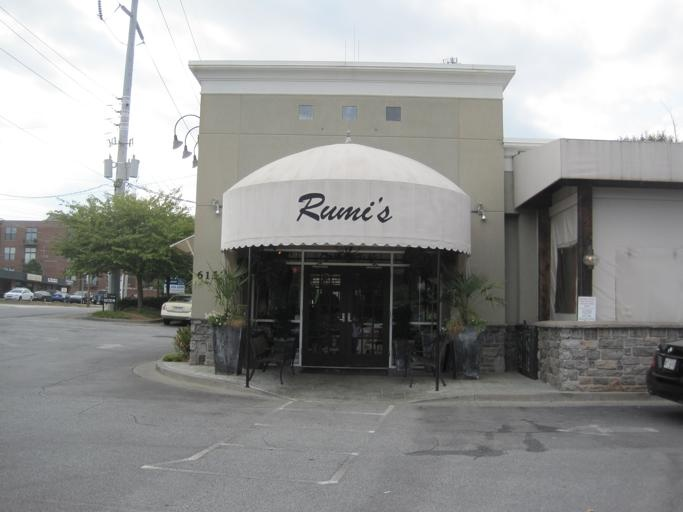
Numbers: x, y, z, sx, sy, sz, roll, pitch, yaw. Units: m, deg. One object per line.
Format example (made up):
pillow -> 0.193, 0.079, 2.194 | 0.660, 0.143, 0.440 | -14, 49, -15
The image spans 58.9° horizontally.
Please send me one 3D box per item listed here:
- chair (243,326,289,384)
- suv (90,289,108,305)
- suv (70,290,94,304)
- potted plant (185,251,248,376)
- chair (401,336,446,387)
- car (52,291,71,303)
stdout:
chair -> -1.753, 2.408, 14.939 | 1.028, 1.176, 3.098 | 2, -6, -6
suv -> -25.055, 4.207, 62.427 | 1.679, 1.849, 3.063 | 1, -9, -8
suv -> -31.635, 5.036, 73.917 | 1.437, 1.150, 2.268 | 0, -10, 4
potted plant -> -2.954, 1.597, 15.065 | 1.078, 2.690, 0.984 | 1, -9, 3
chair -> 2.061, 2.652, 15.272 | 1.034, 1.675, 1.118 | 1, -10, 0
car -> -34.652, 5.139, 75.544 | 1.768, 1.457, 2.838 | -2, -8, 14
